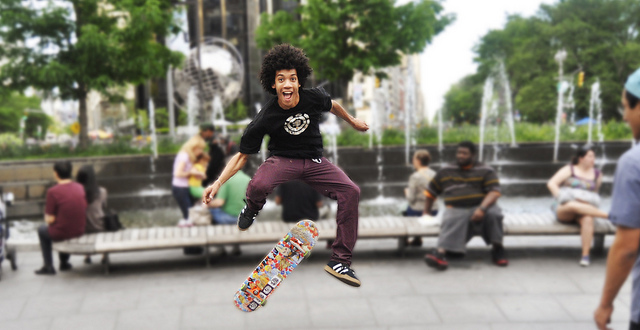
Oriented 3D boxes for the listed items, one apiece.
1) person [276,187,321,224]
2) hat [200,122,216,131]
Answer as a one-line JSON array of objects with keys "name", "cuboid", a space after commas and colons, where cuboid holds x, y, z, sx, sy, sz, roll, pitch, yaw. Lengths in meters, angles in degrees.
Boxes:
[{"name": "person", "cuboid": [-0.385, 0.748, 14.855, 1.332, 0.869, 0.620, 1, 5, -1]}, {"name": "hat", "cuboid": [-2.332, -0.798, 16.357, 0.268, 0.163, 0.338, -2, 4, -10]}]
